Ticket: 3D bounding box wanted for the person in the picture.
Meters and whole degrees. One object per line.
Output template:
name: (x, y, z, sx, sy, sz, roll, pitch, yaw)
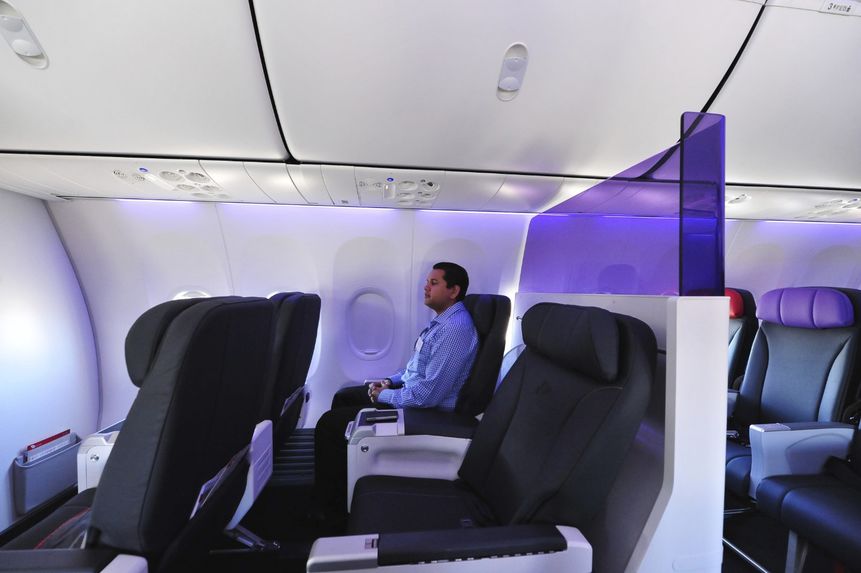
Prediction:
person: (-0.269, 0.776, 4.013, 1.130, 1.823, 0.814, 3, 4, -6)
